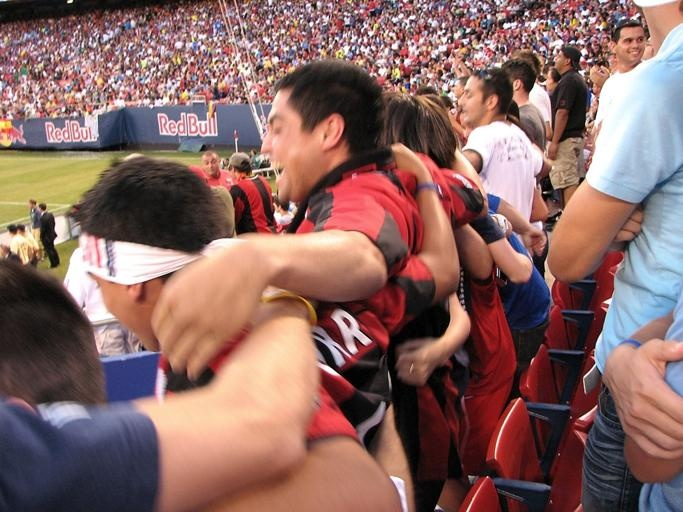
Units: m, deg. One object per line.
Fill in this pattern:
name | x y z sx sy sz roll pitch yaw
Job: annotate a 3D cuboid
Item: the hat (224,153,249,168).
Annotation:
hat | -1.494 -1.400 8.078 0.271 0.221 0.382 -2 21 -10
